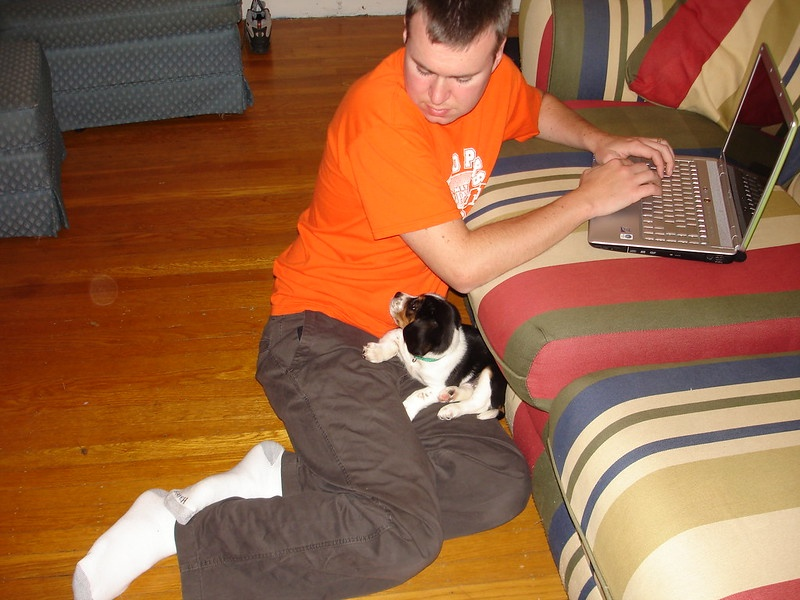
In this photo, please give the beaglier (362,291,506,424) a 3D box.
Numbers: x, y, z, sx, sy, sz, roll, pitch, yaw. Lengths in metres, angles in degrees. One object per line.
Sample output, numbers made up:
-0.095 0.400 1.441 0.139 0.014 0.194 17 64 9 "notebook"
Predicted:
0.131 0.260 2.301 0.491 0.271 0.383 28 51 -30 "beaglier"
